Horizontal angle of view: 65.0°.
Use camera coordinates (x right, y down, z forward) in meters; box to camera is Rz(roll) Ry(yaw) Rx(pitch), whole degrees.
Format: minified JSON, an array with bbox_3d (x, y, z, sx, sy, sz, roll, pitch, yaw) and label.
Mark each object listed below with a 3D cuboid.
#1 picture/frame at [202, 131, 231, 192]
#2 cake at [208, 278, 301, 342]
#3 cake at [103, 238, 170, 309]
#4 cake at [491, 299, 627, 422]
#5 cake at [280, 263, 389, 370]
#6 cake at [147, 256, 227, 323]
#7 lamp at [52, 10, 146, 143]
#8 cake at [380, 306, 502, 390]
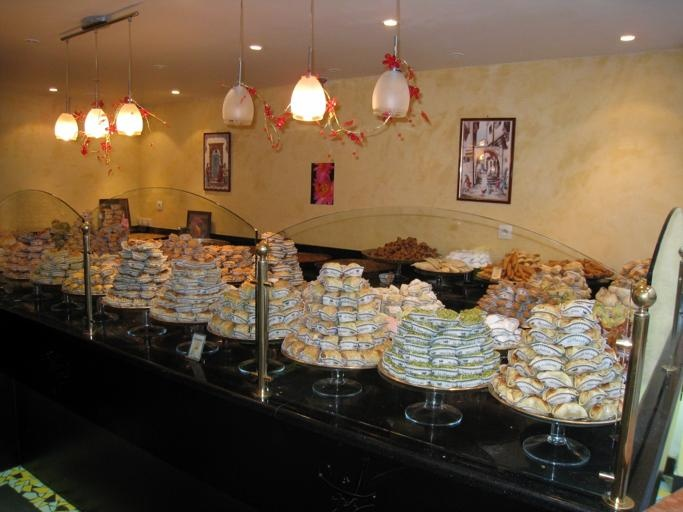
[{"bbox_3d":[-1.541,-1.142,6.543,0.582,0.707,0.019,11,14,41],"label":"picture/frame"},{"bbox_3d":[-0.355,0.190,2.155,0.307,0.122,0.309,0,5,-37],"label":"cake"},{"bbox_3d":[-0.980,0.048,2.705,0.378,0.327,0.351,15,14,42],"label":"cake"},{"bbox_3d":[0.659,0.283,1.672,0.393,0.218,0.373,-1,6,-38],"label":"cake"},{"bbox_3d":[-0.005,0.245,1.922,0.417,0.237,0.401,11,13,27],"label":"cake"},{"bbox_3d":[-0.675,0.125,2.381,0.341,0.170,0.310,-4,23,-28],"label":"cake"},{"bbox_3d":[-2.085,-1.547,4.558,1.335,1.088,0.296,2,1,35],"label":"lamp"},{"bbox_3d":[0.326,0.268,1.757,0.322,0.145,0.292,-2,7,-22],"label":"cake"}]
